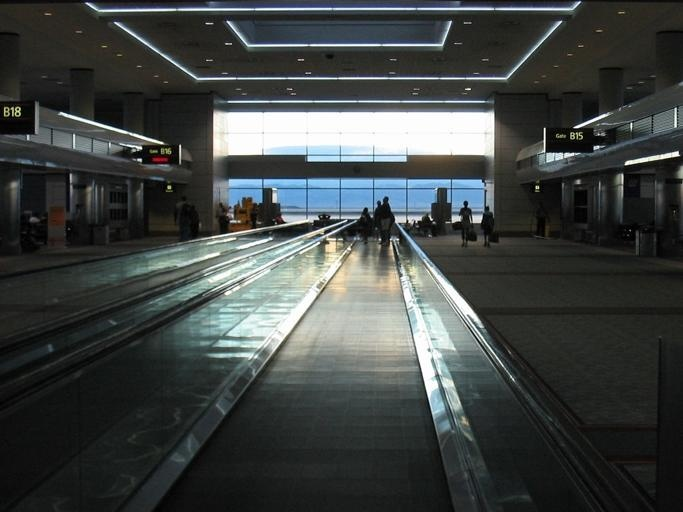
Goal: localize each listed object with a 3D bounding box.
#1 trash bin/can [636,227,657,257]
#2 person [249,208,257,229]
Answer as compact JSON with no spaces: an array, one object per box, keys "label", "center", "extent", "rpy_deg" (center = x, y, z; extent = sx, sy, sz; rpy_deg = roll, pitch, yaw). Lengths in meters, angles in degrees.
[{"label":"trash bin/can","center":[12.477,-0.511,18.727],"extent":[0.718,1.026,0.773],"rpy_deg":[2,7,33]},{"label":"person","center":[-6.117,-2.709,31.850],"extent":[0.415,1.478,0.869],"rpy_deg":[-3,6,-13]}]
